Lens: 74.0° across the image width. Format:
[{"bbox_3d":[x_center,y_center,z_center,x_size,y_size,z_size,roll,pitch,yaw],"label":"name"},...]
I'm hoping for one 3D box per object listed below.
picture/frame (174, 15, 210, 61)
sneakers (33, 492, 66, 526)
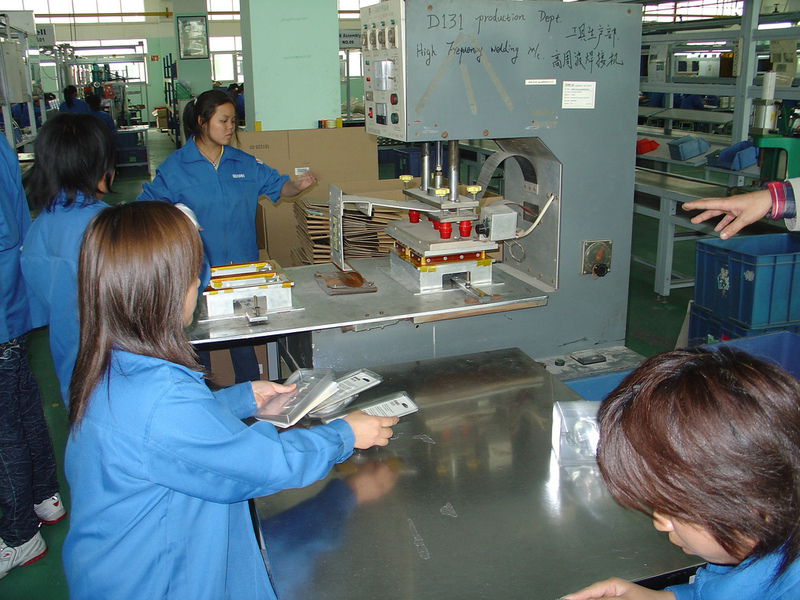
[{"bbox_3d":[-4.326,-5.426,11.079,0.684,0.782,0.381,-4,17,-9],"label":"picture/frame"},{"bbox_3d":[-1.595,0.951,2.423,0.064,0.073,0.184,-16,16,-40],"label":"sneakers"}]
